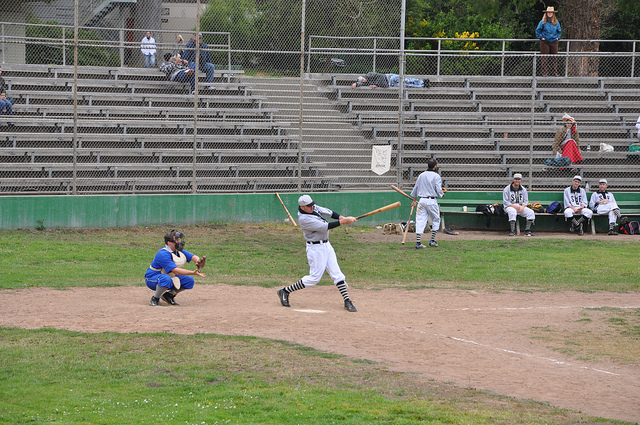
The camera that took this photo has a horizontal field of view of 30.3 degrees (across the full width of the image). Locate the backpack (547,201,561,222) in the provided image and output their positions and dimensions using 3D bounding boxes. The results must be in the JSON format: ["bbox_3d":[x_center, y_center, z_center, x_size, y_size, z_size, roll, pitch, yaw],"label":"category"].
[{"bbox_3d":[8.383,-0.053,42.152,0.622,0.599,0.463,-11,1,28],"label":"backpack"}]

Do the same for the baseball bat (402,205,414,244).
[{"bbox_3d":[3.148,0.409,42.025,0.159,1.389,0.148,22,3,37],"label":"baseball bat"}]

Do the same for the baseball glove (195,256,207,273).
[{"bbox_3d":[-3.344,1.430,33.334,0.247,0.170,0.626,25,-45,-8],"label":"baseball glove"}]

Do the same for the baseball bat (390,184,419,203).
[{"bbox_3d":[2.987,-0.674,41.949,1.275,0.137,0.134,29,6,-3],"label":"baseball bat"}]

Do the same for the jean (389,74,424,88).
[{"bbox_3d":[3.508,-5.213,46.712,1.940,0.455,0.632,-1,2,-41],"label":"jean"}]

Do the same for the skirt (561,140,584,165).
[{"bbox_3d":[9.432,-2.332,44.104,0.572,0.851,0.685,-23,6,25],"label":"skirt"}]

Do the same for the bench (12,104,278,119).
[{"bbox_3d":[-6.272,-3.769,43.649,9.263,0.447,0.866,0,1,-10],"label":"bench"}]

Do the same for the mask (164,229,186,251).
[{"bbox_3d":[-4.153,0.769,33.791,0.626,0.569,0.499,-5,11,17],"label":"mask"}]

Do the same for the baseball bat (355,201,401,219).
[{"bbox_3d":[1.945,-0.139,40.817,1.617,0.174,0.192,-18,3,26],"label":"baseball bat"}]
